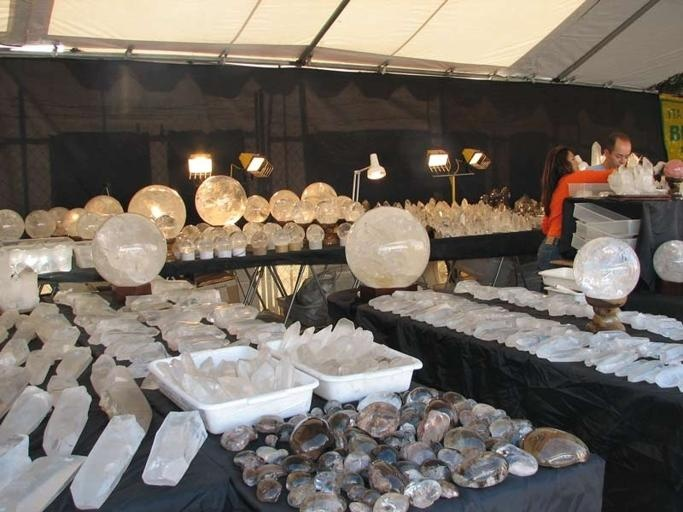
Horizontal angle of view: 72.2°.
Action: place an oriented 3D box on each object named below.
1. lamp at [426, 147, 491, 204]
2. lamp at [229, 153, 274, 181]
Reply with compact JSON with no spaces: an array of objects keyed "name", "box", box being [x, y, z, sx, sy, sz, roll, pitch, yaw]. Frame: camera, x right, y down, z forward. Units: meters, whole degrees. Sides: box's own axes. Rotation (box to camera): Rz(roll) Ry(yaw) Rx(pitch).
[{"name":"lamp","box":[1.458,-0.966,6.067,0.668,0.829,0.384,1,-7,4]},{"name":"lamp","box":[-1.067,-1.083,5.380,0.450,0.345,1.228,-5,8,-12]}]
